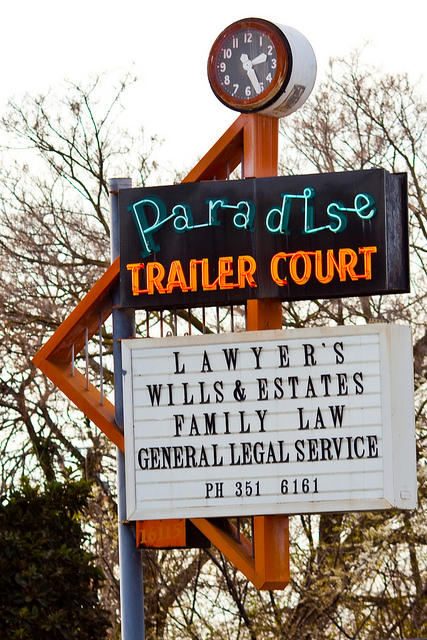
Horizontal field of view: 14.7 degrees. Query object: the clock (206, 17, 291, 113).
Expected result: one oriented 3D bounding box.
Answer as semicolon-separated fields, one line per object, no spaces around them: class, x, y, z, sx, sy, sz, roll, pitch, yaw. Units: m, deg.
clock;0.337;-2.827;17.549;0.826;0.499;1.196;-5;-43;-3
